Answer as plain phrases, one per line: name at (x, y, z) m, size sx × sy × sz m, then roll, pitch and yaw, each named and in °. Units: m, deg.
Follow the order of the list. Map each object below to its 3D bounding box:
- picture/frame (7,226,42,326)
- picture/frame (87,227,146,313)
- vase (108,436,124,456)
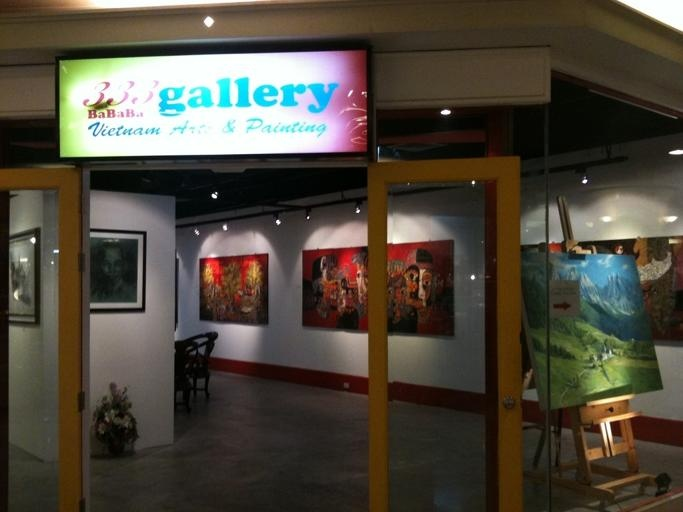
picture/frame at (-2.215, 0.147, 4.211) m, size 0.627 × 0.708 × 0.053 m, roll 0°, pitch 2°, yaw 35°
picture/frame at (-2.507, 0.153, 6.617) m, size 0.876 × 1.098 × 0.041 m, roll -1°, pitch 2°, yaw -27°
vase at (-2.492, 2.067, 6.642) m, size 0.201 × 0.218 × 0.199 m, roll 7°, pitch -5°, yaw -23°
